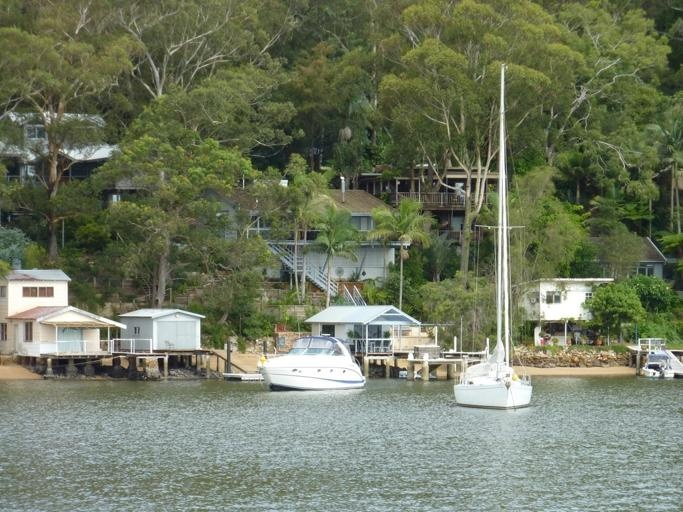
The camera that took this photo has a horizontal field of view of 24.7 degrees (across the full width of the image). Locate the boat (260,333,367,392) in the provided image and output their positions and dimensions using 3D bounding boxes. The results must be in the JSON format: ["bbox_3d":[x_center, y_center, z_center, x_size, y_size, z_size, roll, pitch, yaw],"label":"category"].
[{"bbox_3d":[-2.190,8.686,124.288,3.894,4.828,11.068,3,1,42],"label":"boat"}]
